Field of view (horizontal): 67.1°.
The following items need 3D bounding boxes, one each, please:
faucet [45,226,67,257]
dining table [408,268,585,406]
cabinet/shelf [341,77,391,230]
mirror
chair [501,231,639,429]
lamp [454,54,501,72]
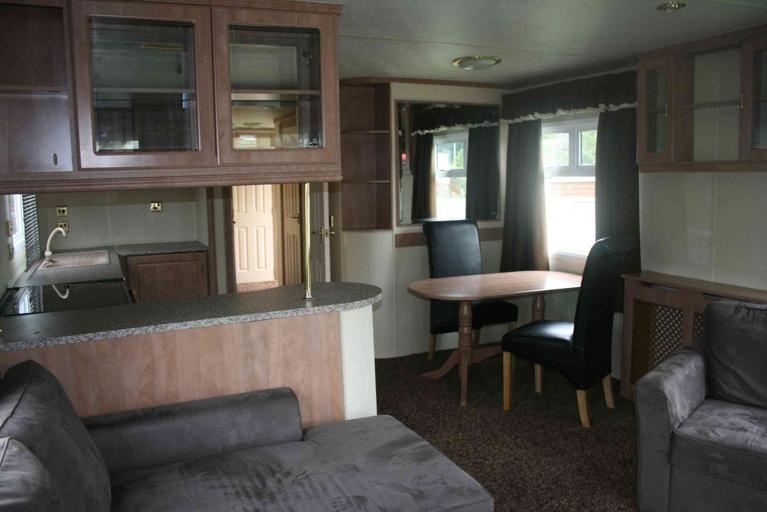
[{"bbox_3d":[-2.143,-0.111,3.766,0.168,0.188,0.055,3,15,18],"label":"faucet"},{"bbox_3d":[0.868,0.344,4.600,1.825,0.887,0.961,-3,5,-30],"label":"dining table"},{"bbox_3d":[-0.164,-0.939,5.394,0.496,1.346,0.396,-2,14,0],"label":"cabinet/shelf"},{"bbox_3d":[0.564,-0.945,5.500,1.293,1.295,0.154,-3,10,-12],"label":"mirror"},{"bbox_3d":[1.310,0.498,4.179,0.821,1.329,0.514,4,15,22],"label":"chair"},{"bbox_3d":[0.712,-1.512,4.497,0.349,0.073,0.409,-8,14,-25],"label":"lamp"}]
